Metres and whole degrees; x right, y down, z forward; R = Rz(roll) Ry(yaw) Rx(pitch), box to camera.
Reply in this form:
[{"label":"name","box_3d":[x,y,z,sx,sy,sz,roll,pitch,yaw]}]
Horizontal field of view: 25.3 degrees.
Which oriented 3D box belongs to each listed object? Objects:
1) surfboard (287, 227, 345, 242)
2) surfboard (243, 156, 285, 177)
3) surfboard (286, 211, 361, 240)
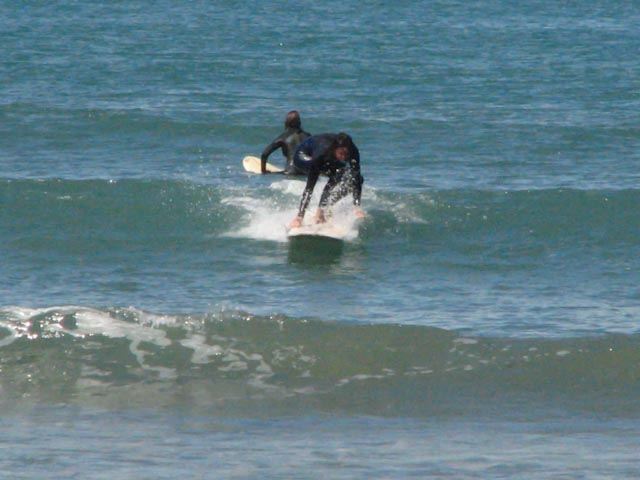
[{"label":"surfboard","box_3d":[-0.126,-0.133,30.975,0.866,0.448,0.120,-5,75,-12]},{"label":"surfboard","box_3d":[-1.457,-1.763,34.175,1.319,0.161,0.305,14,65,27]},{"label":"surfboard","box_3d":[0.184,-0.288,31.162,1.888,0.664,0.526,-3,45,-39]}]
